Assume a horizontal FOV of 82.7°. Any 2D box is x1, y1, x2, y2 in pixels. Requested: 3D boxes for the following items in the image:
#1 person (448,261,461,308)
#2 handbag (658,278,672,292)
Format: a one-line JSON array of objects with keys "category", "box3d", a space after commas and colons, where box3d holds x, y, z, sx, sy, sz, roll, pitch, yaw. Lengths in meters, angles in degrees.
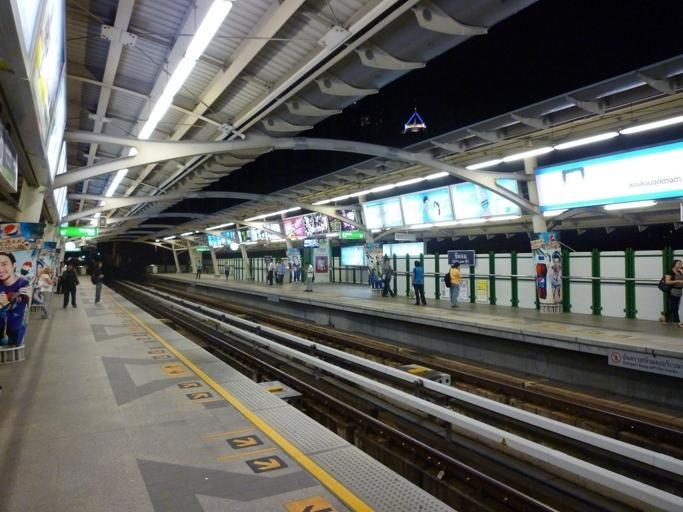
[{"category": "person", "box3d": [4.448, 1.123, 15.021, 0.379, 1.714, 0.527, -3, 0, 9]}, {"category": "handbag", "box3d": [8.728, 0.742, 10.353, 0.273, 0.554, 0.535, -3, 0, 34]}]
